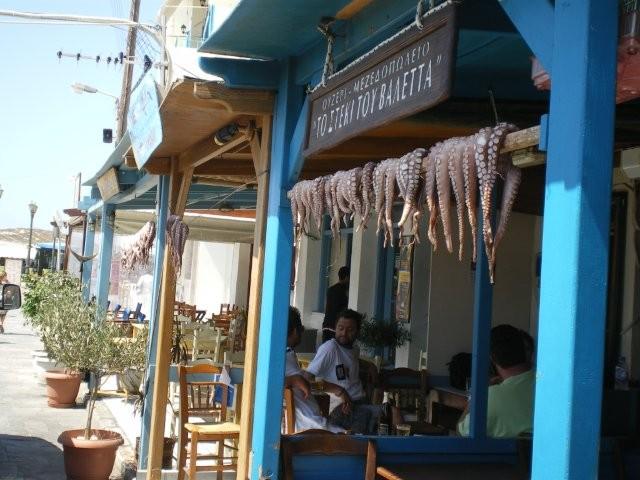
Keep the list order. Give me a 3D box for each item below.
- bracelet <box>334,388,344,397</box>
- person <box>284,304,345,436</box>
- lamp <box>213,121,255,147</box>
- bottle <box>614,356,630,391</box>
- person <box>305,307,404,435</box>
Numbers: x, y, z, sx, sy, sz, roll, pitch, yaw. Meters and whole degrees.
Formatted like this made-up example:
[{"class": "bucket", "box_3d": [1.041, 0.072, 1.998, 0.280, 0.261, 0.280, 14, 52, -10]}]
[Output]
[{"class": "bracelet", "box_3d": [0.155, 1.200, 5.118, 0.045, 0.056, 0.078, 2, -6, -22]}, {"class": "person", "box_3d": [-0.051, 0.996, 5.057, 0.430, 0.972, 0.948, 3, -9, -2]}, {"class": "lamp", "box_3d": [-0.680, -0.849, 5.075, 0.111, 0.105, 0.189, -12, -5, -35]}, {"class": "bottle", "box_3d": [2.757, 1.194, 5.879, 0.120, 0.286, 0.502, -2, -11, 25]}, {"class": "person", "box_3d": [0.315, 1.170, 5.800, 0.856, 1.521, 0.793, -3, -9, 24]}]
